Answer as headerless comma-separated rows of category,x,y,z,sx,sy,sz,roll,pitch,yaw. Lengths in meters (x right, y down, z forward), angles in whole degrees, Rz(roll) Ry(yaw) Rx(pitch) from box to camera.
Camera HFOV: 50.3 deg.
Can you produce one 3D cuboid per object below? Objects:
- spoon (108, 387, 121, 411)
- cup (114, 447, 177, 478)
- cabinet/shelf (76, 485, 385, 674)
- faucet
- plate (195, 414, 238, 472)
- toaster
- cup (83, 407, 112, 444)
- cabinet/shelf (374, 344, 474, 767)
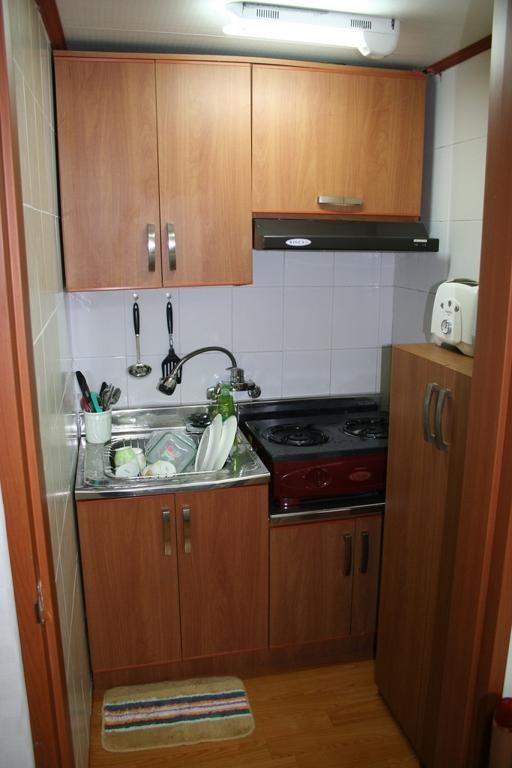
spoon,-0.577,0.062,2.212,0.026,0.092,0.058,5,2,20
cup,-0.399,0.288,1.948,0.169,0.094,0.117,7,-3,-3
cabinet/shelf,-0.121,0.664,1.915,0.563,0.510,0.223,-3,10,-13
faucet,-0.231,-0.053,2.244,0.335,0.219,0.263,0,11,-12
plate,-0.149,0.221,1.992,0.149,0.194,0.244,1,11,-6
toaster,0.548,-0.188,1.465,0.091,0.175,0.174,-12,22,-26
cup,-0.599,0.166,2.080,0.101,0.137,0.116,1,12,0
cabinet/shelf,0.464,0.545,1.595,0.141,1.289,0.538,1,10,-2
